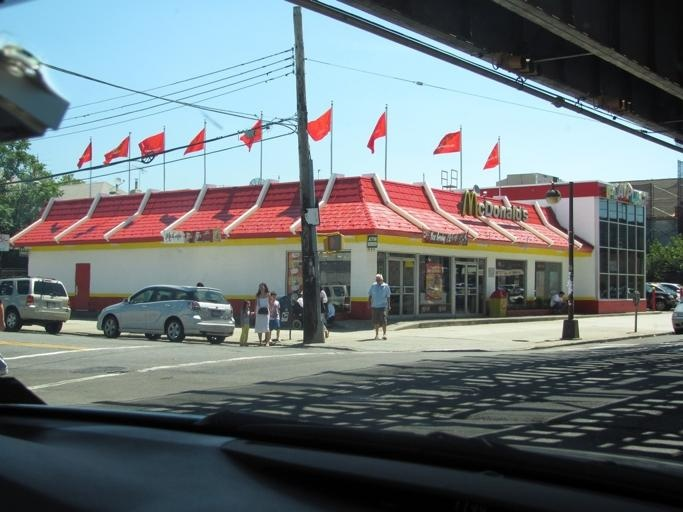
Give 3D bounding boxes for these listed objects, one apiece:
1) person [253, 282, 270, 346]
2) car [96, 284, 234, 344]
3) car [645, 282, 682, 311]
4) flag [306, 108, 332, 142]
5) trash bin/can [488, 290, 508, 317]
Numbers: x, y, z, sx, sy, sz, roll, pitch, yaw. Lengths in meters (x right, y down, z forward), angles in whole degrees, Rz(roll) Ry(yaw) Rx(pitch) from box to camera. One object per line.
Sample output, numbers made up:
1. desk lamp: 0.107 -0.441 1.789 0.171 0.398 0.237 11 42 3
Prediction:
1. person: -2.041 1.510 22.023 0.388 1.577 1.027 -2 -5 -6
2. car: -4.676 1.610 23.018 3.127 1.164 1.728 -3 -6 28
3. car: 17.315 2.218 45.729 2.366 1.211 1.395 -3 -1 11
4. flag: -0.822 -5.062 33.205 0.910 1.128 0.484 -5 -6 33
5. trash bin/can: 6.262 1.888 33.946 0.670 1.058 0.561 -3 -5 7
